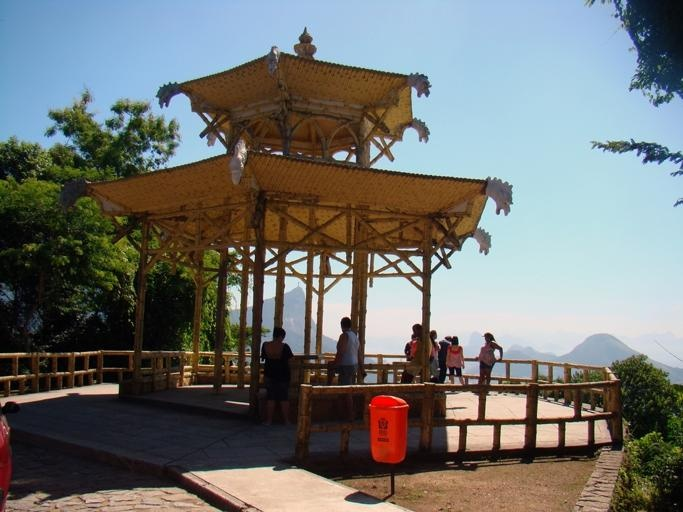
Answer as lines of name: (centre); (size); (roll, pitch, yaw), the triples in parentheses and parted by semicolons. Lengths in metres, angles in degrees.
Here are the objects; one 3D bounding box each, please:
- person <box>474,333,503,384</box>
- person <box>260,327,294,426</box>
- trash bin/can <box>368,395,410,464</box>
person: (4.589, 3.178, 17.634); (0.693, 1.493, 1.430); (0, -9, 14)
person: (-1.396, 2.542, 12.228); (0.678, 2.090, 1.174); (3, -9, -5)
trash bin/can: (0.749, 2.786, 9.112); (0.575, 1.072, 0.365); (2, -8, 3)
